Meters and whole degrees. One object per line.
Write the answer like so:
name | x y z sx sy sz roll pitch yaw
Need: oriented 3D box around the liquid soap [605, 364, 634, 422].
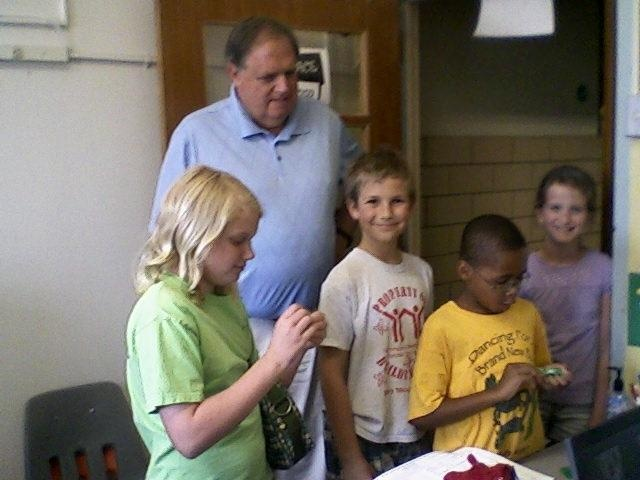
liquid soap | 0.937 0.489 1.885 0.072 0.188 0.227 1 8 26

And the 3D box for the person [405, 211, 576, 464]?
person | 0.514 0.299 1.843 0.509 0.732 0.290 -5 8 -15
